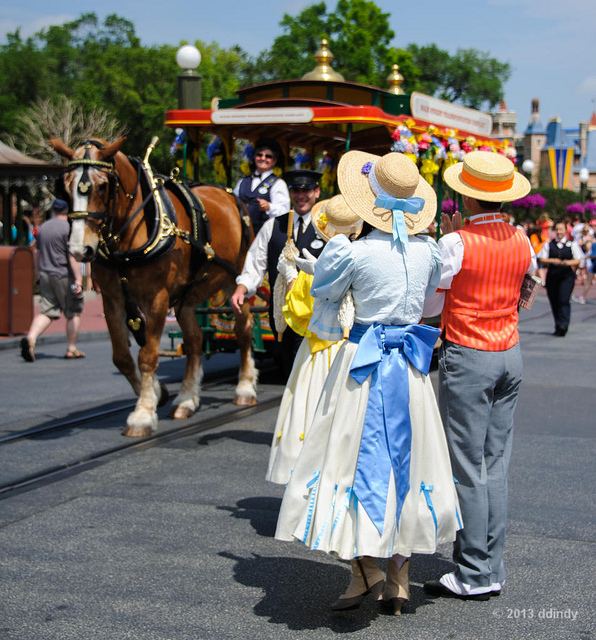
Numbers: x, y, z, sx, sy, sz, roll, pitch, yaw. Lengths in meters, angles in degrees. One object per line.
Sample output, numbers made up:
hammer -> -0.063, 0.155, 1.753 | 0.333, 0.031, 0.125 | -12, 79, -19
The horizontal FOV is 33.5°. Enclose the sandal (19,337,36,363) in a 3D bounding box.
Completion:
sandal -> -3.218, 0.364, 11.748 | 0.146, 0.347, 0.112 | -6, 14, -25

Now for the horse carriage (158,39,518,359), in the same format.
horse carriage -> 0.743, -1.603, 12.428 | 2.439, 2.971, 6.135 | 9, 14, 26

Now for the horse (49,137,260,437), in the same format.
horse -> -1.066, -0.273, 8.030 | 1.006, 2.294, 2.450 | 4, 9, 13

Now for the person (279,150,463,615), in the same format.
person -> 0.359, 0.132, 4.345 | 0.662, 1.708, 0.816 | 9, 12, 39

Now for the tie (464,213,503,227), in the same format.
tie -> 0.894, -0.485, 4.754 | 0.121, 0.030, 0.101 | -7, 1, 11
